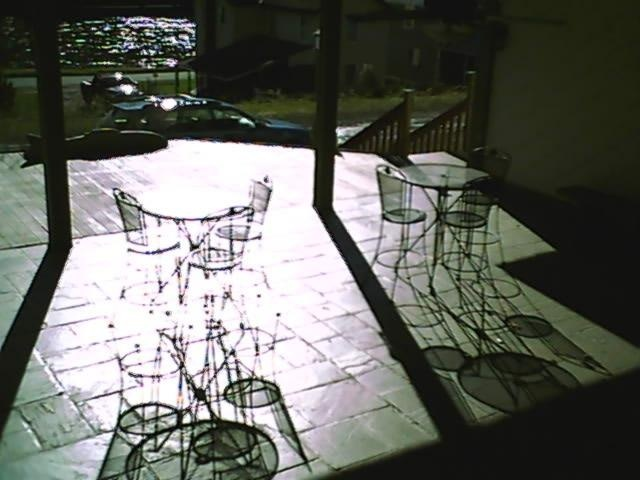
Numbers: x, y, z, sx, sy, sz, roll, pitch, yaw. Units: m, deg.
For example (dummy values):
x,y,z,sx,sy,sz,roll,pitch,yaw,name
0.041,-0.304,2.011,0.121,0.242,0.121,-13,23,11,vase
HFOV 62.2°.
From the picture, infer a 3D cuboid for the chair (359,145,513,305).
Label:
x,y,z,sx,sy,sz,roll,pitch,yaw,name
1.019,-0.300,4.554,1.174,1.014,1.159,-29,44,-33,chair
